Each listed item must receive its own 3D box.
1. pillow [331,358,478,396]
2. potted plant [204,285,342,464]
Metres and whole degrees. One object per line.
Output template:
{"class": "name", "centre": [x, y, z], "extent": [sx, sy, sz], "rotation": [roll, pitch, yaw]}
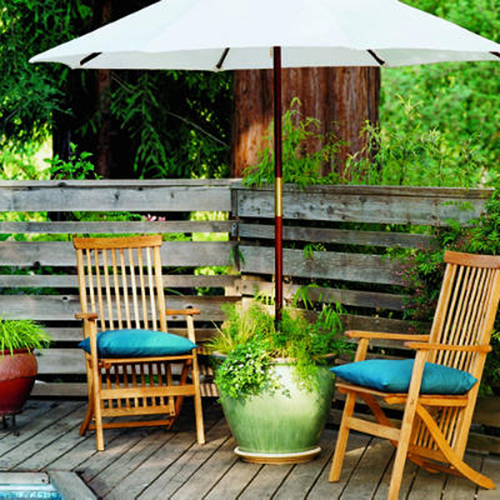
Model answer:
{"class": "pillow", "centre": [0.659, 0.556, 2.528], "extent": [0.611, 0.142, 0.357], "rotation": [0, -2, 6]}
{"class": "potted plant", "centre": [0.114, 0.692, 3.235], "extent": [1.073, 0.918, 0.787], "rotation": [1, -8, -4]}
